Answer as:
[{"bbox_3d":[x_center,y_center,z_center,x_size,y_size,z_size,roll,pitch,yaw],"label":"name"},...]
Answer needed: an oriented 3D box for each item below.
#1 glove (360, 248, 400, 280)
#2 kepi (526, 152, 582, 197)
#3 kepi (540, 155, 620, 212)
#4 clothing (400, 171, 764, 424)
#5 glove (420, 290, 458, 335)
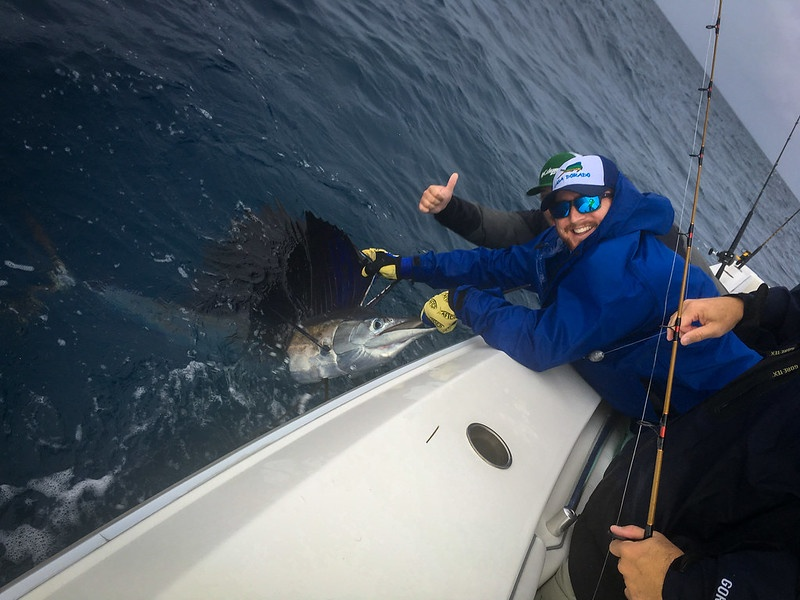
[{"bbox_3d":[-0.180,-0.268,4.989,0.285,0.087,0.183,12,48,28],"label":"glove"},{"bbox_3d":[1.236,-1.010,5.245,0.481,0.257,0.323,-35,22,-12],"label":"kepi"},{"bbox_3d":[1.143,-0.770,4.311,0.399,0.572,0.312,-6,88,18],"label":"kepi"},{"bbox_3d":[1.090,-0.009,4.502,2.477,1.927,1.474,-1,7,5],"label":"clothing"},{"bbox_3d":[0.257,0.071,4.605,0.275,0.234,0.274,16,21,17],"label":"glove"}]
